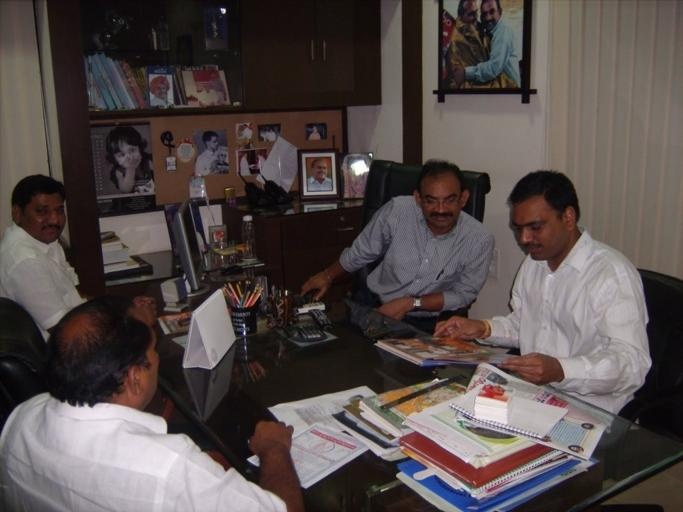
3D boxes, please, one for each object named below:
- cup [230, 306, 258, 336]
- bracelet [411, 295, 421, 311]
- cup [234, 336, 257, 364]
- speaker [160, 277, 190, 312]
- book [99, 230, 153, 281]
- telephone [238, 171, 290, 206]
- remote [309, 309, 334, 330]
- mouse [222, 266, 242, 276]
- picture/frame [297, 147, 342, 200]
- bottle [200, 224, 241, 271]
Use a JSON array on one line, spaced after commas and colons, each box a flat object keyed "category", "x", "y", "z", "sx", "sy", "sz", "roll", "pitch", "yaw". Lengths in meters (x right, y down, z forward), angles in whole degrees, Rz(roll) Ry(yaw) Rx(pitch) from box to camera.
[{"category": "cup", "x": -0.424, "y": 0.261, "z": 2.194, "sx": 0.113, "sy": 0.132, "sz": 0.113, "roll": -1, "pitch": 17, "yaw": 0}, {"category": "bracelet", "x": 0.395, "y": 0.270, "z": 2.705, "sx": 0.042, "sy": 0.071, "sz": 0.066, "roll": 1, "pitch": 0, "yaw": -11}, {"category": "cup", "x": -0.391, "y": 0.387, "z": 2.035, "sx": 0.072, "sy": 0.088, "sz": 0.076, "roll": -1, "pitch": -3, "yaw": 0}, {"category": "speaker", "x": -0.807, "y": 0.193, "z": 2.450, "sx": 0.070, "sy": 0.125, "sz": 0.134, "roll": -2, "pitch": 12, "yaw": 6}, {"category": "book", "x": -1.432, "y": 0.031, "z": 3.265, "sx": 0.292, "sy": 0.126, "sz": 0.326, "roll": -6, "pitch": 22, "yaw": -38}, {"category": "telephone", "x": -0.592, "y": -0.506, "z": 3.874, "sx": 0.285, "sy": 0.113, "sz": 0.214, "roll": 29, "pitch": 34, "yaw": 33}, {"category": "remote", "x": -0.092, "y": 0.277, "z": 2.214, "sx": 0.040, "sy": 0.061, "sz": 0.159, "roll": -4, "pitch": 14, "yaw": -16}, {"category": "mouse", "x": -0.658, "y": 0.090, "z": 3.015, "sx": 0.052, "sy": 0.025, "sz": 0.079, "roll": 10, "pitch": 17, "yaw": 38}, {"category": "picture/frame", "x": -0.177, "y": -0.656, "z": 4.070, "sx": 0.378, "sy": 0.502, "sz": 0.034, "roll": -1, "pitch": 2, "yaw": -4}, {"category": "bottle", "x": -0.795, "y": -0.048, "z": 3.292, "sx": 0.150, "sy": 0.067, "sz": 0.309, "roll": -11, "pitch": 30, "yaw": -2}]
